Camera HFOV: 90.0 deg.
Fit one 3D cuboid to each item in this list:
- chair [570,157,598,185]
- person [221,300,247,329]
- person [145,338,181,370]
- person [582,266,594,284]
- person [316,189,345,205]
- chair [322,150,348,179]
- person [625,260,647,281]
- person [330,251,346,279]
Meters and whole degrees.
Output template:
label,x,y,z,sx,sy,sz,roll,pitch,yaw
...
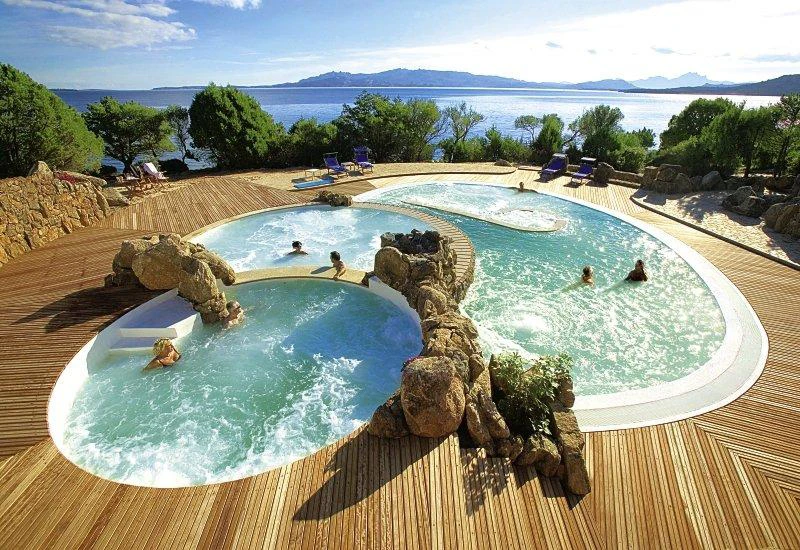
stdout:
label,x,y,z,sx,sy,sz,roll,pitch,yaw
chair,14.650,-8.224,31.701,1.634,1.577,3.274,14,31,25
person,-6.459,1.501,15.418,0.751,0.351,0.936,27,44,-8
person,-8.181,2.723,13.750,0.401,0.492,0.871,-30,15,17
person,8.729,0.013,18.433,0.415,0.797,0.599,-3,11,-27
person,-4.350,-4.763,25.132,2.065,0.700,0.756,17,34,30
chair,-5.108,-8.984,32.336,1.545,1.853,2.874,-20,56,-15
person,10.970,-0.200,18.537,0.798,1.012,0.411,5,18,6
person,-2.776,-0.375,17.703,0.598,0.813,1.201,-10,52,-9
